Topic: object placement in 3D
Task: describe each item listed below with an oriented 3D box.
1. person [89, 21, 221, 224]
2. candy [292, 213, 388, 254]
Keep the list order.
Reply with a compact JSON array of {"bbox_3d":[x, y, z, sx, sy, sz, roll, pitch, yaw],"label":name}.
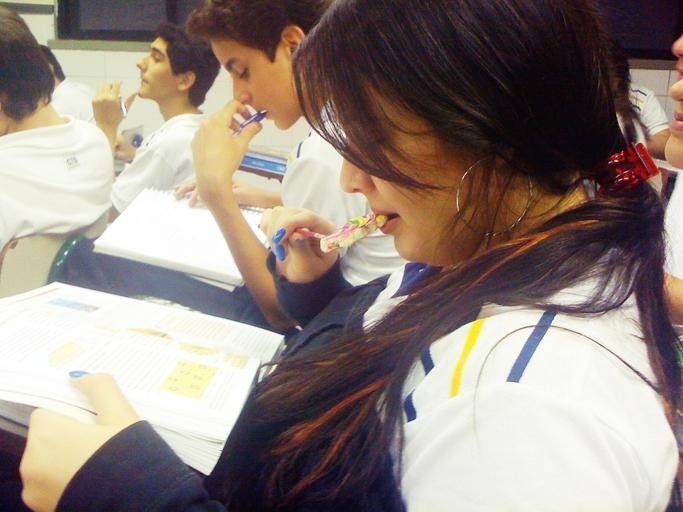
[{"bbox_3d":[-0.841,-0.717,2.710,0.595,1.203,0.599,-13,31,-30],"label":"person"},{"bbox_3d":[0.005,-0.046,1.028,0.144,0.032,0.088,-17,18,39],"label":"candy"}]
